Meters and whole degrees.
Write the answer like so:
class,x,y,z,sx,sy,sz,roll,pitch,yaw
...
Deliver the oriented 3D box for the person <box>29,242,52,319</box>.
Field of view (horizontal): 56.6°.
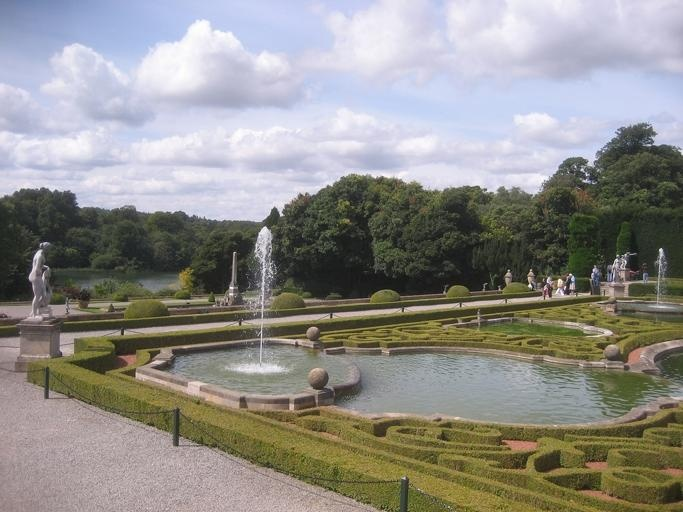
class,x,y,z,sx,sy,sz,roll,pitch,yaw
person,-8.181,0.629,17.238,0.536,1.846,0.932,2,-1,-25
